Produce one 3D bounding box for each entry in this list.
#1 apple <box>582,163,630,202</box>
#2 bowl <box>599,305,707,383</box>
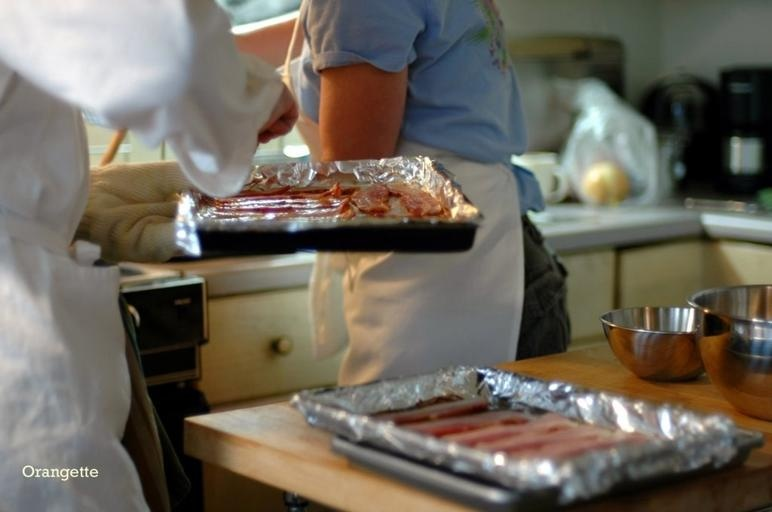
[{"bbox_3d":[0.788,-0.250,2.283,0.193,0.151,0.092,-5,4,-23],"label":"apple"},{"bbox_3d":[0.350,0.123,0.933,0.105,0.053,0.110,24,-22,10],"label":"bowl"}]
